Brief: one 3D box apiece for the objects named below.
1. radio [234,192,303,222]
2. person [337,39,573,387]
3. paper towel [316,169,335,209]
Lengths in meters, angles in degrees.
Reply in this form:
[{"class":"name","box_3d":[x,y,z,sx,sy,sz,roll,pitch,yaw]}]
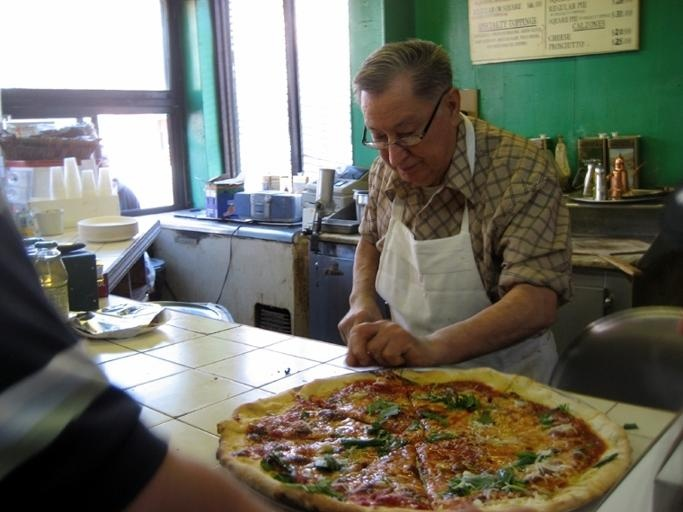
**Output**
[{"class":"radio","box_3d":[-0.615,-0.400,4.116,0.575,0.251,0.501,11,18,42]},{"class":"person","box_3d":[0.365,-0.078,1.843,0.629,1.334,0.758,5,9,38]},{"class":"paper towel","box_3d":[-0.116,-0.488,3.699,0.135,0.285,0.181,1,14,-3]}]
